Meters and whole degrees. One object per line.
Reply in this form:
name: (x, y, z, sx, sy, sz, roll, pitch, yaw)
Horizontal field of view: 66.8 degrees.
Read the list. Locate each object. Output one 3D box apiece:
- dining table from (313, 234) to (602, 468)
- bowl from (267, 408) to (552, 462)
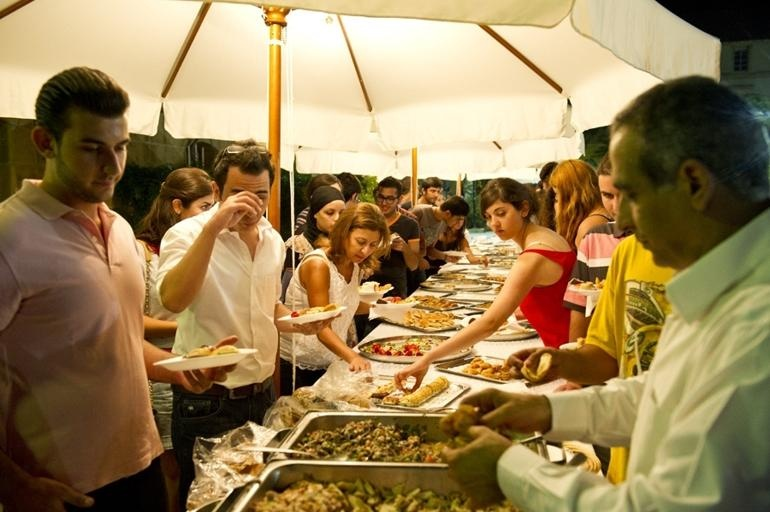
dining table: (0.638, 0.319, 4.227, 1.521, 2.104, 1.154, -1, -16, 8)
bowl: (-0.100, 0.926, 2.950, 0.816, 0.117, 0.524, 0, 4, 9)
